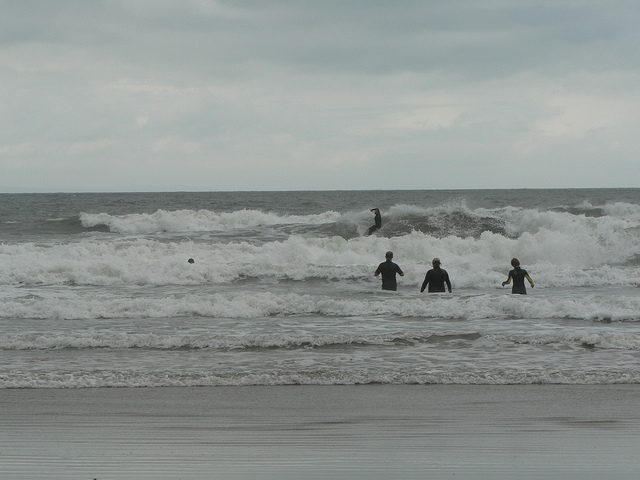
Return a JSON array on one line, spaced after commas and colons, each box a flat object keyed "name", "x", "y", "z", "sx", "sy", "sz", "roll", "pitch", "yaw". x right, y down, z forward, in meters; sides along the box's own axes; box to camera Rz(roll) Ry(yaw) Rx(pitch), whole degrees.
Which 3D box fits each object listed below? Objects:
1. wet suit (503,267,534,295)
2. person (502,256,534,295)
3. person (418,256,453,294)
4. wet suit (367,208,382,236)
[{"name": "wet suit", "x": 4.629, "y": 0.968, "z": 34.249, "sx": 0.665, "sy": 0.915, "sz": 0.282, "roll": 2, "pitch": 32, "yaw": 19}, {"name": "person", "x": 4.507, "y": 0.816, "z": 33.372, "sx": 0.589, "sy": 0.762, "sz": 1.448, "roll": -2, "pitch": 0, "yaw": 8}, {"name": "person", "x": 2.622, "y": 0.818, "z": 33.480, "sx": 0.699, "sy": 0.767, "sz": 0.812, "roll": -2, "pitch": 0, "yaw": 5}, {"name": "wet suit", "x": 1.619, "y": -0.544, "z": 43.575, "sx": 0.427, "sy": 0.743, "sz": 1.246, "roll": -2, "pitch": 0, "yaw": 2}]
